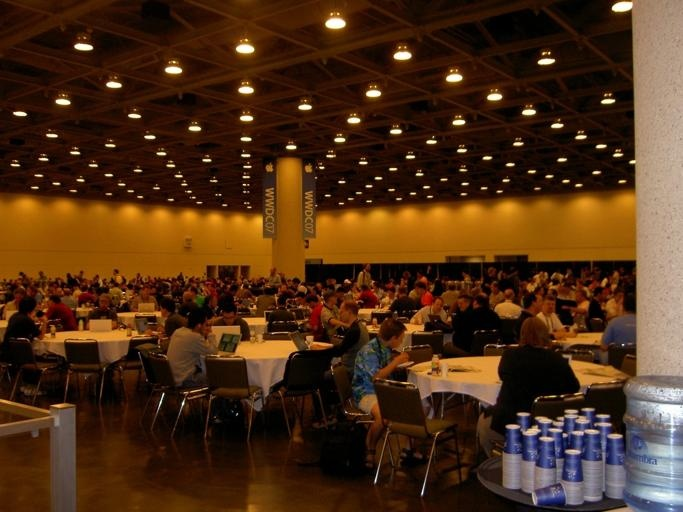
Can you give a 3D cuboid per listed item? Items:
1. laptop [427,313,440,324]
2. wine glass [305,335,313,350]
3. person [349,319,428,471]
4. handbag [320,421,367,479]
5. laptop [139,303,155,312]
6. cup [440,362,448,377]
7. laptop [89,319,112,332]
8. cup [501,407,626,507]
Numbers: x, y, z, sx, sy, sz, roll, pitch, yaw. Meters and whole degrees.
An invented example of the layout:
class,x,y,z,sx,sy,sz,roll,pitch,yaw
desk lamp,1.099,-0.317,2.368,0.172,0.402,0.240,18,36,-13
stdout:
class,x,y,z,sx,sy,sz,roll,pitch,yaw
laptop,1.798,1.226,10.489,0.235,0.143,0.158,-2,-15,44
wine glass,-0.517,1.347,8.437,0.143,0.187,0.131,-1,-1,-12
person,0.503,1.491,5.730,0.710,1.633,1.031,-5,7,-6
handbag,0.023,2.015,5.511,0.500,0.542,0.579,-5,-16,29
laptop,-4.717,1.260,12.786,0.334,0.192,0.225,11,-43,-41
cup,1.094,1.203,5.635,0.058,0.125,0.110,-2,6,18
laptop,-4.418,1.233,9.796,0.375,0.188,0.239,1,1,-11
cup,1.081,0.949,2.555,0.481,0.247,0.479,-1,1,0
